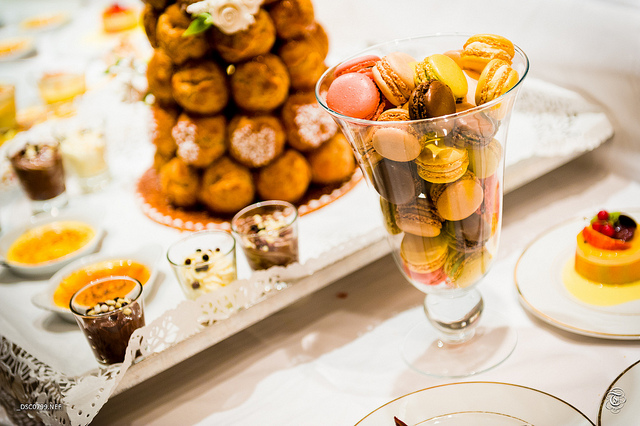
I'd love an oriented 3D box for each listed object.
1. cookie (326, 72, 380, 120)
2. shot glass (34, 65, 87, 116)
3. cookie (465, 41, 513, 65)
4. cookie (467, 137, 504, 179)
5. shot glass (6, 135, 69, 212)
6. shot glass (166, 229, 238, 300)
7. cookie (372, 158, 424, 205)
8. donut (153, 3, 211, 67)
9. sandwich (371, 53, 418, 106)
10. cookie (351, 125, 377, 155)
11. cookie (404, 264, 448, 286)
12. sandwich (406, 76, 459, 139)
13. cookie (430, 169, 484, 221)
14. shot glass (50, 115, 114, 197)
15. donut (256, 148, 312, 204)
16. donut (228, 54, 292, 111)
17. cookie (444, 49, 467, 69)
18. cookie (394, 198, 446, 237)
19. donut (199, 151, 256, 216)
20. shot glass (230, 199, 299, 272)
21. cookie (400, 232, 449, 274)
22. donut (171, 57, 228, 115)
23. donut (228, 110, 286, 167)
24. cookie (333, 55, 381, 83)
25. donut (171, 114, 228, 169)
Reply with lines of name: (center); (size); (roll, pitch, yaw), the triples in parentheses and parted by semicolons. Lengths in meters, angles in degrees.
cookie: (0.052, -0.175, 0.779); (0.074, 0.074, 0.033); (-33, -13, 10)
shot glass: (-0.564, -0.282, 1.098); (0.092, 0.075, 0.106); (2, 24, 36)
cookie: (0.267, -0.245, 0.779); (0.042, 0.022, 0.049); (7, 13, -20)
cookie: (0.246, -0.078, 0.765); (0.049, 0.067, 0.041); (-3, 26, 2)
shot glass: (-0.557, -0.080, 0.996); (0.108, 0.157, 0.108); (3, 42, 2)
shot glass: (-0.220, 0.082, 0.971); (0.105, 0.132, 0.117); (-18, 29, -40)
cookie: (0.117, -0.046, 0.767); (0.067, 0.070, 0.042); (0, 17, -5)
donut: (-0.258, -0.324, 0.919); (0.079, 0.084, 0.088); (-28, 44, -20)
sandwich: (0.116, -0.207, 0.781); (0.068, 0.059, 0.065); (-2, 41, 8)
cookie: (0.061, -0.111, 0.773); (0.032, 0.050, 0.032); (-4, 49, 2)
cookie: (0.187, 0.102, 0.827); (0.042, 0.010, 0.041); (-11, 0, -31)
sandwich: (0.156, -0.146, 0.711); (0.070, 0.088, 0.039); (6, 8, -9)
cookie: (0.208, -0.023, 0.762); (0.078, 0.070, 0.028); (-16, 41, -7)
shot glass: (-0.501, -0.124, 1.109); (0.117, 0.168, 0.104); (-10, 28, -14)
donut: (-0.076, -0.078, 1.059); (0.109, 0.091, 0.060); (-43, 23, -19)
donut: (-0.109, -0.237, 0.931); (0.099, 0.109, 0.060); (-14, 49, -13)
cookie: (0.219, -0.252, 0.815); (0.033, 0.018, 0.033); (-26, 33, 9)
cookie: (0.157, -0.003, 0.805); (0.076, 0.056, 0.061); (15, 21, 35)
donut: (-0.186, -0.060, 0.973); (0.113, 0.110, 0.058); (-1, 4, 1)
shot glass: (-0.104, 0.038, 1.003); (0.118, 0.135, 0.117); (-8, 26, -19)
cookie: (0.174, 0.059, 0.831); (0.081, 0.034, 0.085); (-6, 40, 30)
donut: (-0.219, -0.231, 0.916); (0.086, 0.101, 0.054); (-34, 26, -11)
donut: (-0.116, -0.151, 0.991); (0.142, 0.151, 0.045); (7, 56, -8)
cookie: (0.062, -0.239, 0.853); (0.055, 0.046, 0.080); (-11, 24, -36)
donut: (-0.222, -0.138, 0.953); (0.094, 0.095, 0.048); (-36, 12, 1)
